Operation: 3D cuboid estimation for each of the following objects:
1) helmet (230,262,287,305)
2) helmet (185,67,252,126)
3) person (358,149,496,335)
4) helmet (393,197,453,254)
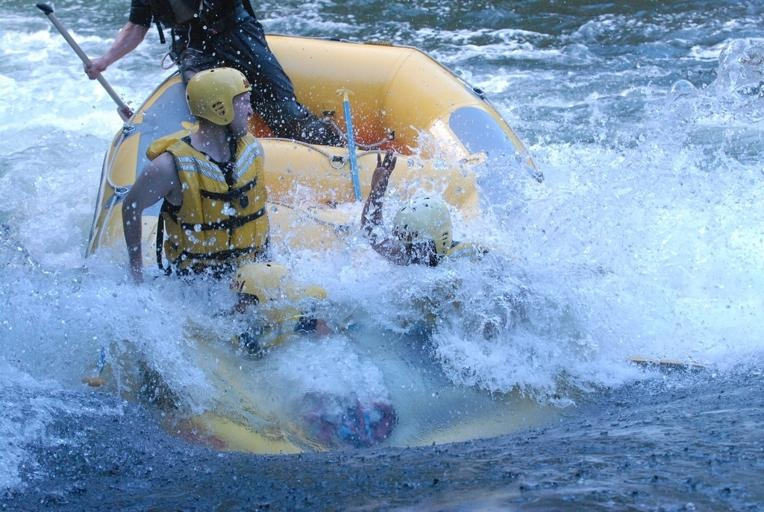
[{"bbox_3d":[-1.092,0.217,9.959,0.447,0.207,0.353,15,37,11],"label":"helmet"},{"bbox_3d":[-1.419,-1.461,10.089,0.617,0.464,0.474,-14,24,-10],"label":"helmet"},{"bbox_3d":[0.384,-0.267,10.594,1.529,0.835,1.067,24,4,-30],"label":"person"},{"bbox_3d":[0.378,-0.313,10.279,0.395,0.438,0.513,-14,-5,22],"label":"helmet"}]
